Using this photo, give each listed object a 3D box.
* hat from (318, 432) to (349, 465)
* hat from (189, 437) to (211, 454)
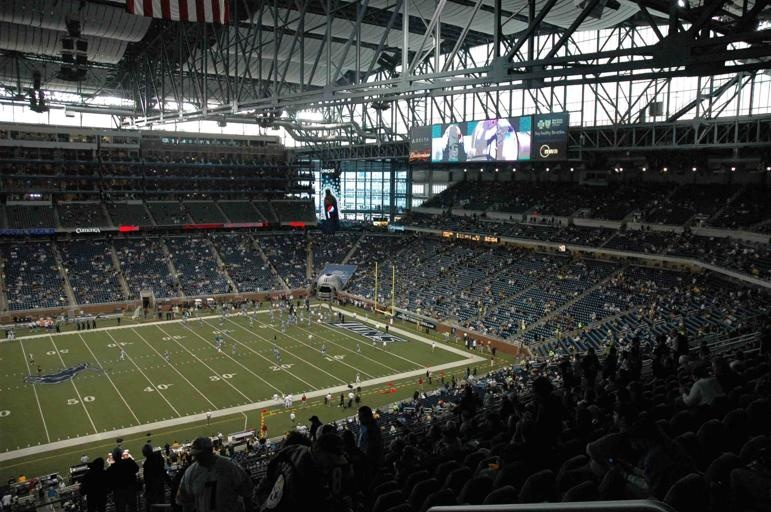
[{"bbox_3d":[-1.438,4.915,15.655,0.719,0.832,0.827,0,-2,-45],"label":"hat"},{"bbox_3d":[-4.760,4.897,15.597,0.364,0.276,0.505,0,0,7],"label":"hat"}]
